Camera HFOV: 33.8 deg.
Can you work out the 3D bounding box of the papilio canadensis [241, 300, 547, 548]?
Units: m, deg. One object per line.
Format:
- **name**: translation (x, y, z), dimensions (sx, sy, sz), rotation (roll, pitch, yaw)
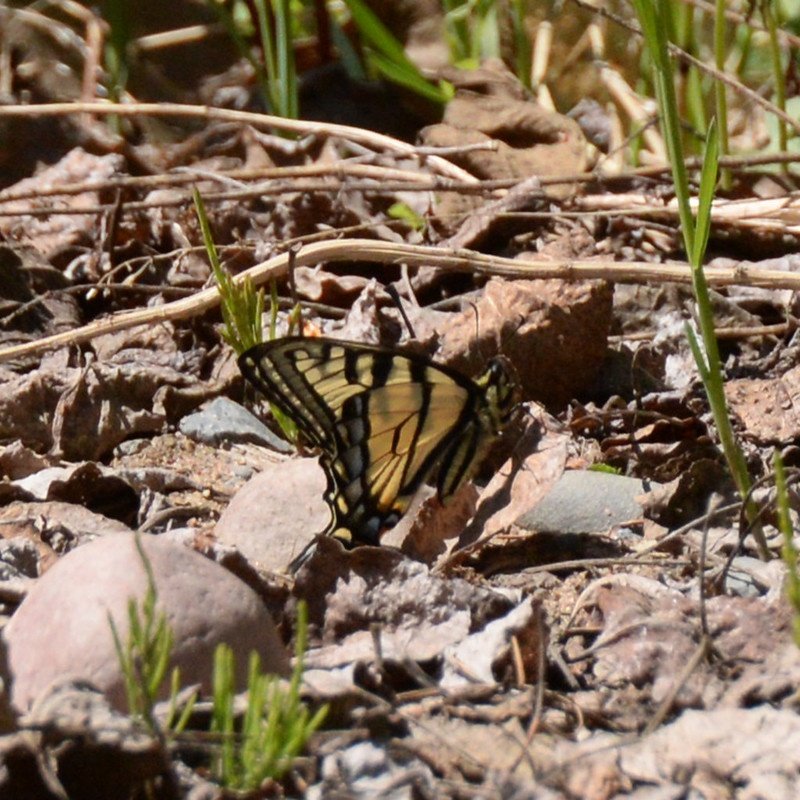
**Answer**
- **papilio canadensis**: translation (-0.030, 0.019, 2.927), dimensions (0.538, 0.332, 0.538), rotation (8, -8, 24)
